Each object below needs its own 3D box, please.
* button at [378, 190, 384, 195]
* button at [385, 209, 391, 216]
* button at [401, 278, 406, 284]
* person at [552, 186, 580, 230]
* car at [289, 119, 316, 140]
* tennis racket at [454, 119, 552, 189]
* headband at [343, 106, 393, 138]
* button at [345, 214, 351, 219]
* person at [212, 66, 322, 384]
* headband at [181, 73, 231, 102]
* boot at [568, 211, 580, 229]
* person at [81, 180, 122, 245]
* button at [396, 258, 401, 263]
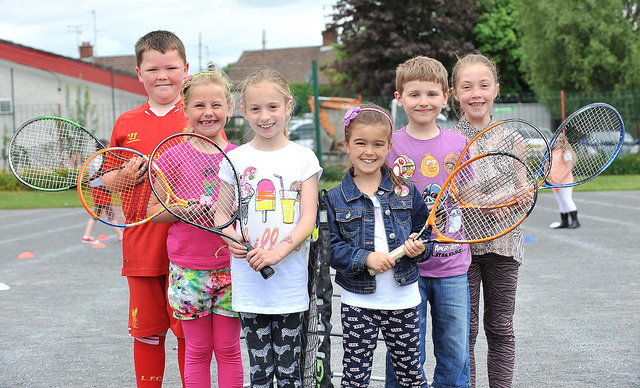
[{"bbox_3d":[0.617,-0.013,6.431,0.041,0.043,0.010,-1,-12,6],"label":"button"},{"bbox_3d":[0.687,0.194,6.379,0.045,0.046,0.010,15,-3,-19],"label":"button"},{"bbox_3d":[0.829,0.864,6.319,0.045,0.052,0.012,-6,9,-21],"label":"button"},{"bbox_3d":[4.967,0.305,12.761,0.455,0.869,0.702,2,10,23],"label":"person"},{"bbox_3d":[-0.715,-2.729,26.714,1.524,0.792,0.907,1,6,-13],"label":"car"},{"bbox_3d":[2.083,-0.546,6.816,0.145,0.660,1.017,20,20,-37],"label":"tennis racket"},{"bbox_3d":[0.453,-0.744,6.591,0.337,0.319,0.155,12,-15,6],"label":"headband"},{"bbox_3d":[0.281,0.222,6.408,0.058,0.043,0.011,-2,9,1],"label":"button"},{"bbox_3d":[-0.494,0.321,6.366,1.045,3.111,0.629,-3,9,-3],"label":"person"},{"bbox_3d":[-1.185,-1.122,6.582,0.512,0.259,0.212,-3,9,-2],"label":"headband"},{"bbox_3d":[5.173,0.502,12.926,0.327,0.362,0.162,-9,11,-36],"label":"boot"},{"bbox_3d":[-2.285,0.128,6.663,0.421,0.125,0.980,3,48,-27],"label":"person"},{"bbox_3d":[0.773,0.660,6.307,0.038,0.038,0.011,-16,17,-14],"label":"button"}]
